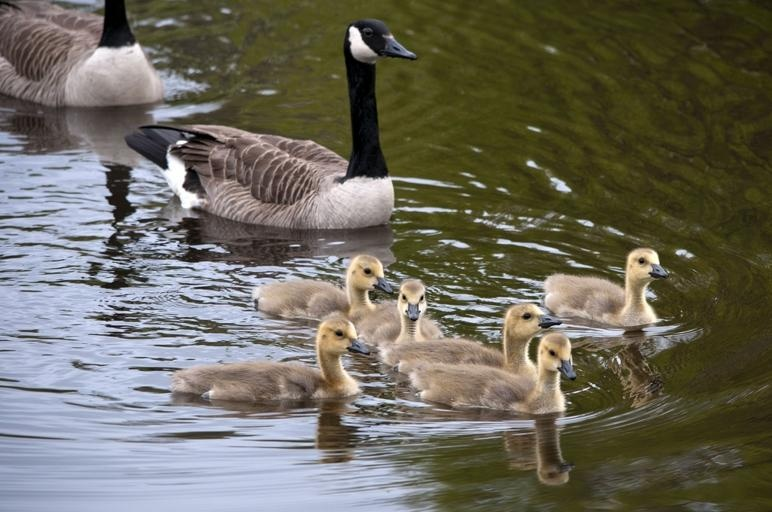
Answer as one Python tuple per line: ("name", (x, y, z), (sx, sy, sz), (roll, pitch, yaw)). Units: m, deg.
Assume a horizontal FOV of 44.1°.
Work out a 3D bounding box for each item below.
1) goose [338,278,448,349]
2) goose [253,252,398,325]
("goose", (0.077, 0.761, 12.161), (0.973, 0.677, 1.783), (-3, 26, 1))
("goose", (-0.822, 0.449, 12.605), (3.796, 1.068, 0.974), (0, 90, 1))
